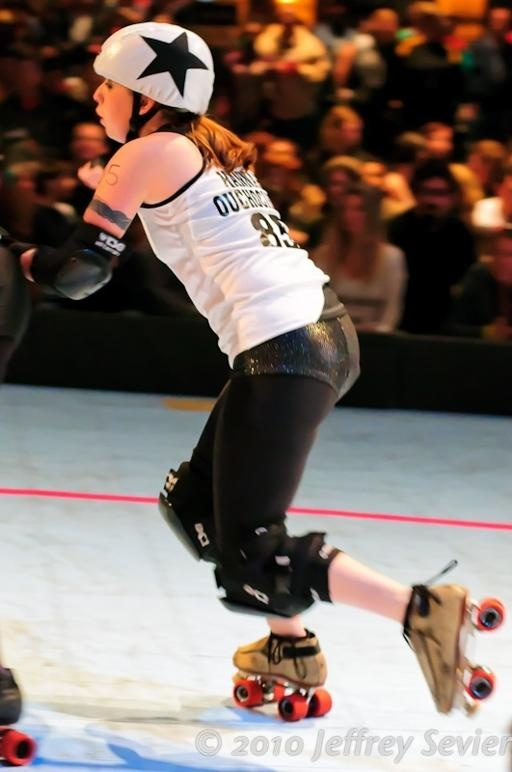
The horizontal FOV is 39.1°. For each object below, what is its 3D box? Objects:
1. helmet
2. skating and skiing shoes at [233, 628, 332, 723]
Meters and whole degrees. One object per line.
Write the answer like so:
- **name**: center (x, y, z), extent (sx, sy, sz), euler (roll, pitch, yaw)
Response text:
- **helmet**: center (-0.203, -0.646, 1.494), extent (0.264, 0.171, 0.175), euler (2, 27, -11)
- **skating and skiing shoes**: center (0.046, 0.645, 1.659), extent (0.131, 0.151, 0.271), euler (1, 1, -41)
